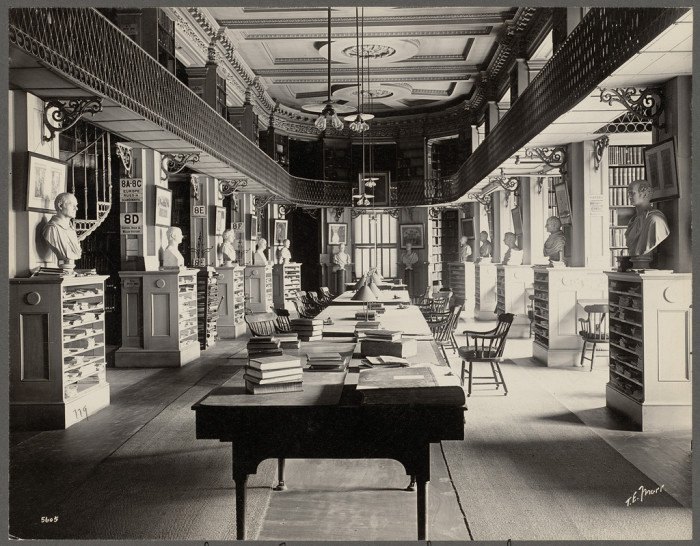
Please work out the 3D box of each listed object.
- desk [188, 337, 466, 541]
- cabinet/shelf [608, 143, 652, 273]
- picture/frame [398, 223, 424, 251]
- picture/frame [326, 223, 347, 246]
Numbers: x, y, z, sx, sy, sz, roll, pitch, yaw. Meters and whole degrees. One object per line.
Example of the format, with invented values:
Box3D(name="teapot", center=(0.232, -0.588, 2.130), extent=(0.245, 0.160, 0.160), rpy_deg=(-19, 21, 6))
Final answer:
Box3D(name="desk", center=(-0.103, 0.914, 4.366), extent=(1.438, 0.862, 1.400), rpy_deg=(1, 3, 3))
Box3D(name="cabinet/shelf", center=(4.802, -1.233, 10.968), extent=(0.539, 1.632, 0.406), rpy_deg=(-1, -5, 20))
Box3D(name="picture/frame", center=(2.070, -1.253, 21.012), extent=(0.824, 0.904, 0.060), rpy_deg=(3, 2, 25))
Box3D(name="picture/frame", center=(-0.501, -1.347, 21.180), extent=(0.970, 1.090, 0.072), rpy_deg=(1, -5, -28))
